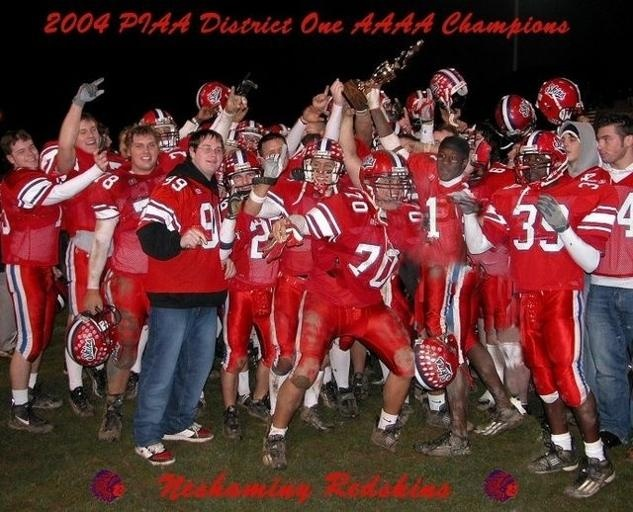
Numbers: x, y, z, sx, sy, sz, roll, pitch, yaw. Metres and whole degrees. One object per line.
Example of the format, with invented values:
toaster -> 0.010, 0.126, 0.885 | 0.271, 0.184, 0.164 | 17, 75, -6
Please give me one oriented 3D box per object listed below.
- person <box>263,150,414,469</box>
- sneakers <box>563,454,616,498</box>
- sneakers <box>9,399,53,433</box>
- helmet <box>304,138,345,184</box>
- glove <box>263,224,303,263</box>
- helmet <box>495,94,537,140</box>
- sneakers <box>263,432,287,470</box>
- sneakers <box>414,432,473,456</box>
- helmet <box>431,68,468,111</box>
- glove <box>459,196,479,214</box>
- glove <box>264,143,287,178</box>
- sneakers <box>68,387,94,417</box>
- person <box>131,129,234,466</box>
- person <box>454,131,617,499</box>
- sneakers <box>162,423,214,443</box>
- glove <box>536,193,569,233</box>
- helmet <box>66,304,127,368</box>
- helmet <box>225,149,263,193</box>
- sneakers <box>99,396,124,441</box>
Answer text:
person -> 0.202, 0.378, 4.212 | 1.460, 2.433, 1.136 | 3, 9, -18
sneakers -> 2.044, 1.645, 3.967 | 0.337, 0.165, 0.124 | -34, 18, -12
sneakers -> -2.665, 1.478, 4.898 | 0.407, 0.256, 0.124 | 2, 9, 11
helmet -> 0.066, -0.788, 4.422 | 0.287, 0.326, 0.383 | 3, 15, 3
glove -> -0.272, -0.102, 4.193 | 0.297, 0.324, 0.671 | -1, 8, -5
helmet -> 2.195, -1.556, 5.835 | 0.496, 0.416, 0.447 | 2, 26, -16
sneakers -> -0.335, 1.568, 4.242 | 0.143, 0.146, 0.302 | 45, 14, -23
sneakers -> 1.084, 1.587, 4.558 | 0.479, 0.249, 0.190 | 1, 5, 6
helmet -> 1.467, -1.943, 6.034 | 0.447, 0.443, 0.372 | 19, 34, 18
glove -> 1.154, -0.382, 3.967 | 0.246, 0.138, 0.082 | -7, 11, -40
glove -> -0.305, -0.712, 3.965 | 0.161, 0.220, 0.114 | 16, 34, -32
sneakers -> -2.366, 1.416, 5.325 | 0.160, 0.190, 0.404 | -5, 33, -42
person -> -1.060, 0.341, 4.282 | 0.671, 2.697, 0.776 | 7, 11, 38
person -> 1.748, 0.400, 4.017 | 1.070, 2.667, 0.573 | 5, 10, 31
sneakers -> -1.112, 1.560, 4.726 | 0.456, 0.217, 0.171 | 1, -16, 1
glove -> 1.641, -0.305, 3.743 | 0.300, 0.163, 0.083 | 50, -10, -21
helmet -> -1.968, 0.727, 4.774 | 0.414, 0.584, 0.423 | 32, -24, -8
helmet -> -0.643, -0.755, 4.730 | 0.313, 0.342, 0.419 | -2, 27, -8
sneakers -> -1.848, 1.436, 4.768 | 0.243, 0.355, 0.243 | -7, 11, -40
